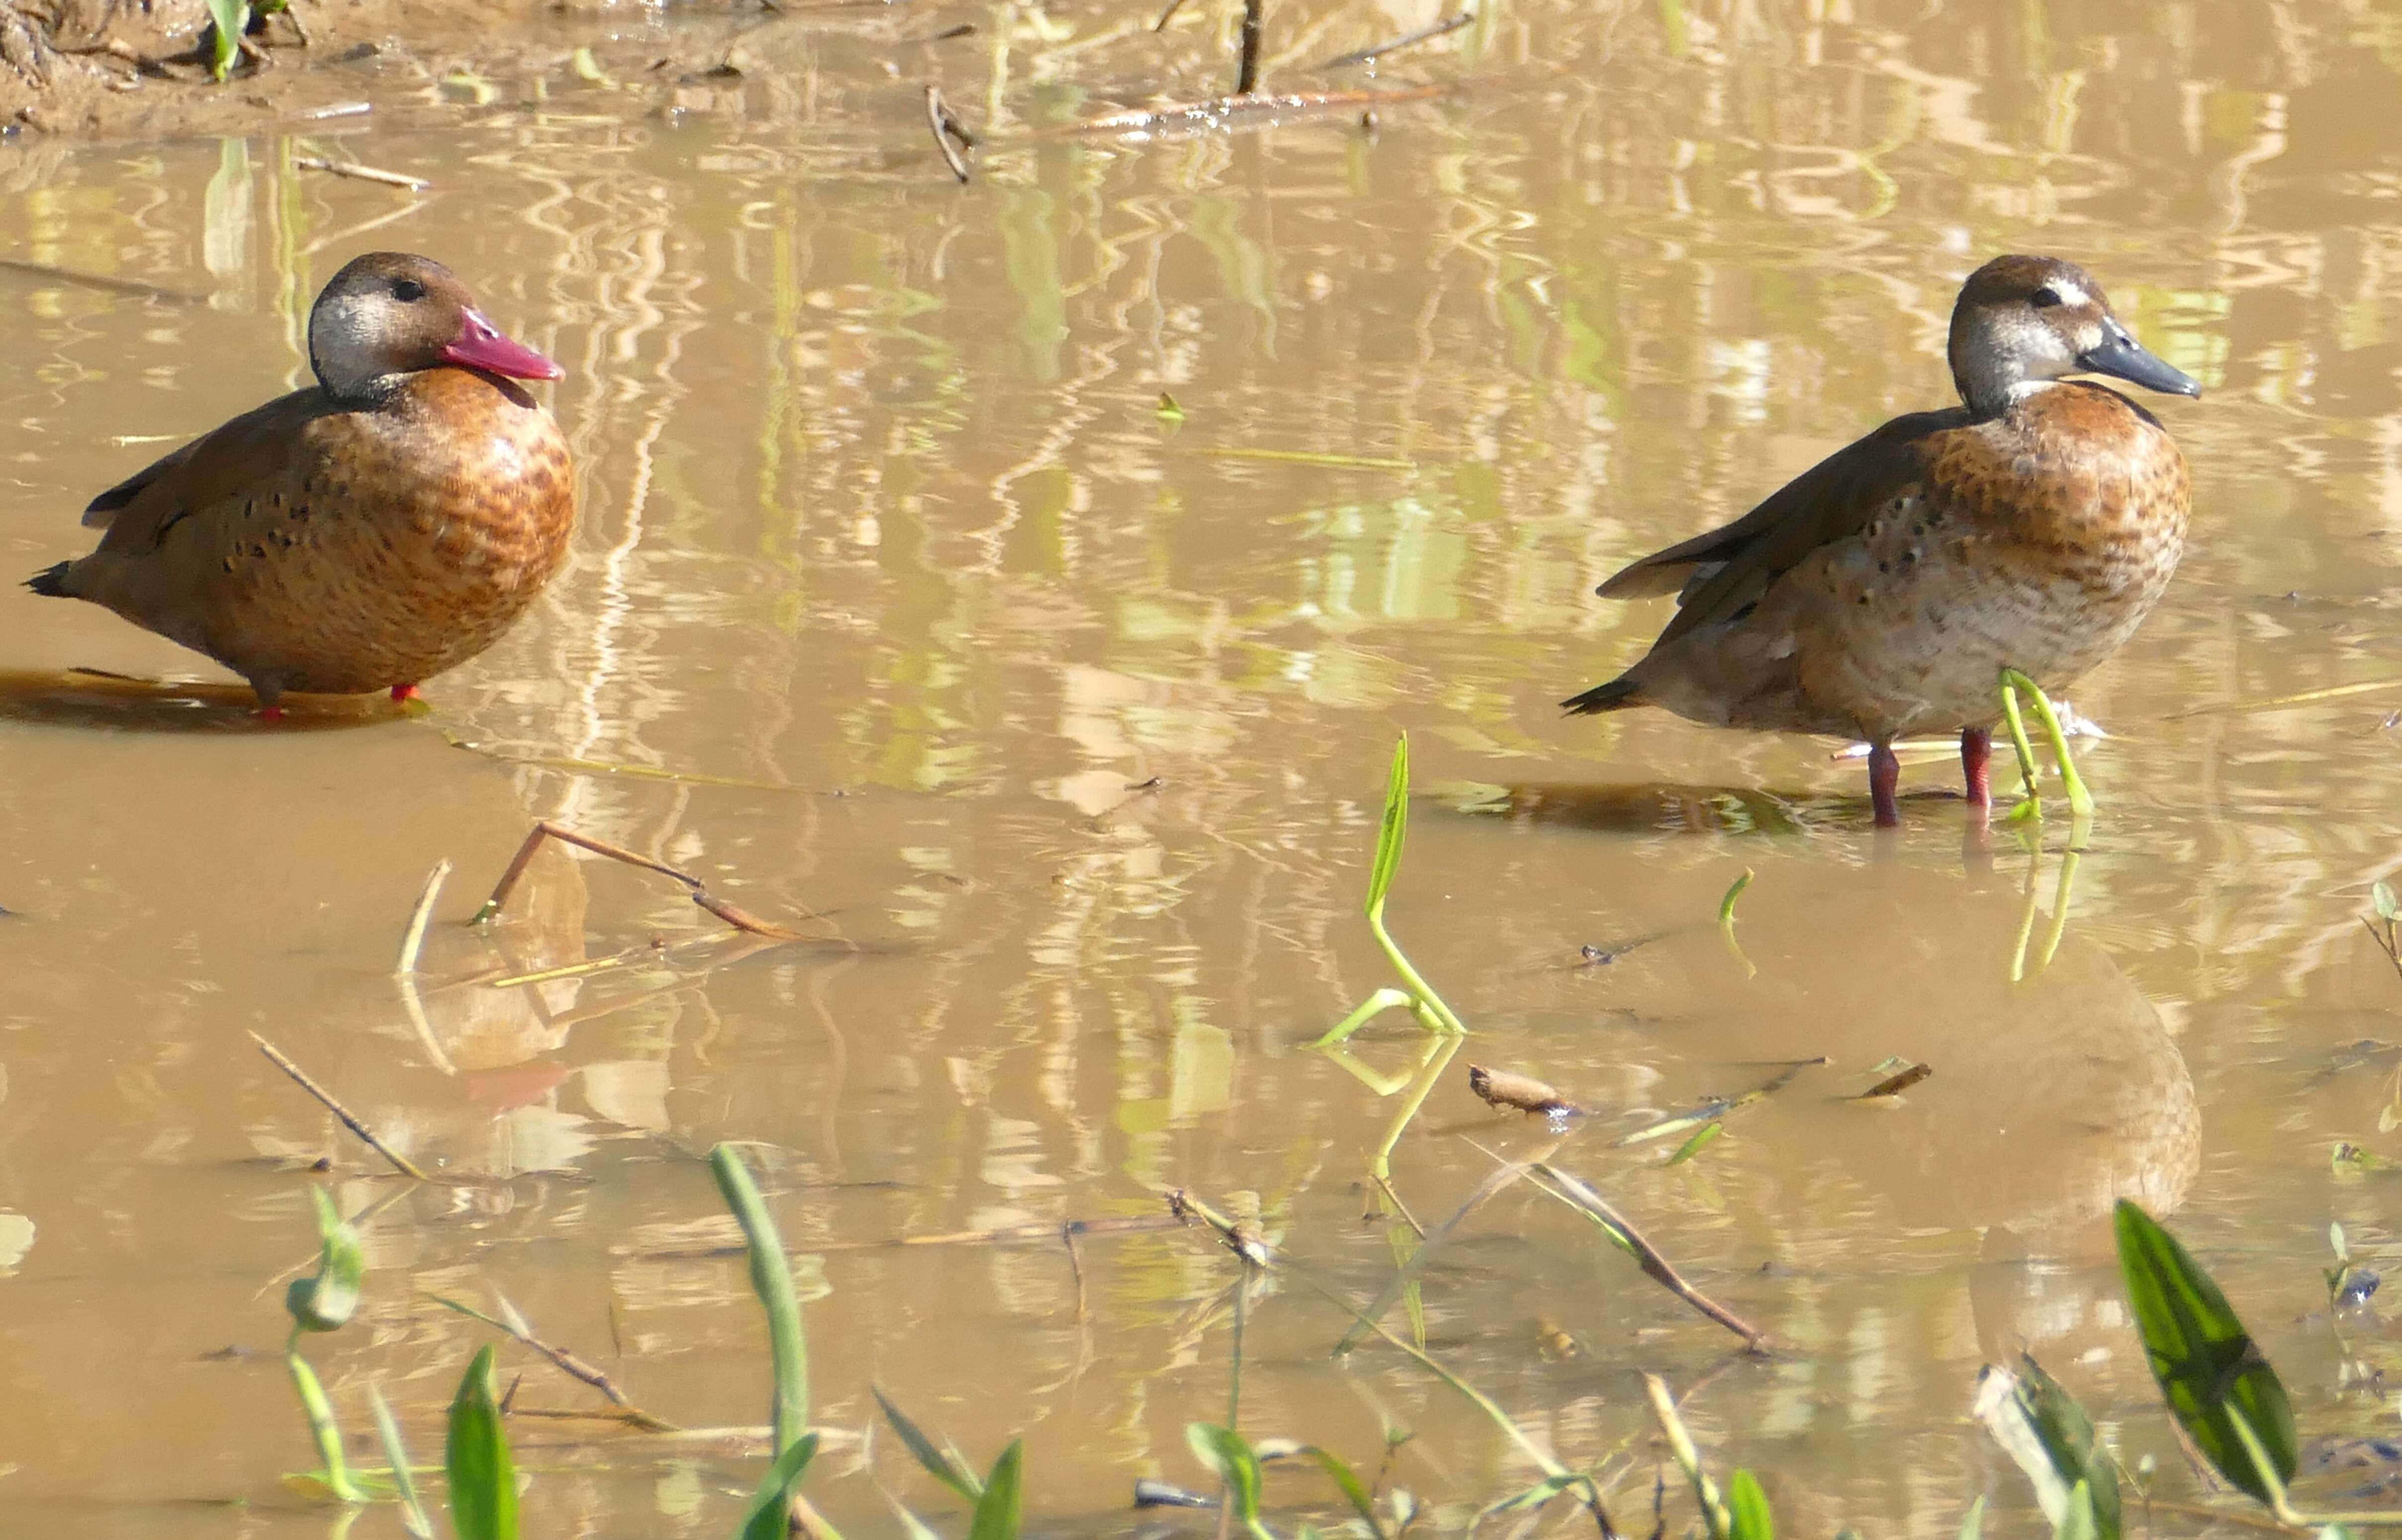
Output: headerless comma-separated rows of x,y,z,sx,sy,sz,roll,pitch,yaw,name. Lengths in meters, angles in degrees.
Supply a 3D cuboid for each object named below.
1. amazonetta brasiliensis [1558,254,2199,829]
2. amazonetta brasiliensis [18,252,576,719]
1.567,-0.600,5.859,1.111,1.082,0.454,11,14,11,amazonetta brasiliensis
-1.965,-0.652,6.177,0.995,1.089,0.451,15,14,25,amazonetta brasiliensis
